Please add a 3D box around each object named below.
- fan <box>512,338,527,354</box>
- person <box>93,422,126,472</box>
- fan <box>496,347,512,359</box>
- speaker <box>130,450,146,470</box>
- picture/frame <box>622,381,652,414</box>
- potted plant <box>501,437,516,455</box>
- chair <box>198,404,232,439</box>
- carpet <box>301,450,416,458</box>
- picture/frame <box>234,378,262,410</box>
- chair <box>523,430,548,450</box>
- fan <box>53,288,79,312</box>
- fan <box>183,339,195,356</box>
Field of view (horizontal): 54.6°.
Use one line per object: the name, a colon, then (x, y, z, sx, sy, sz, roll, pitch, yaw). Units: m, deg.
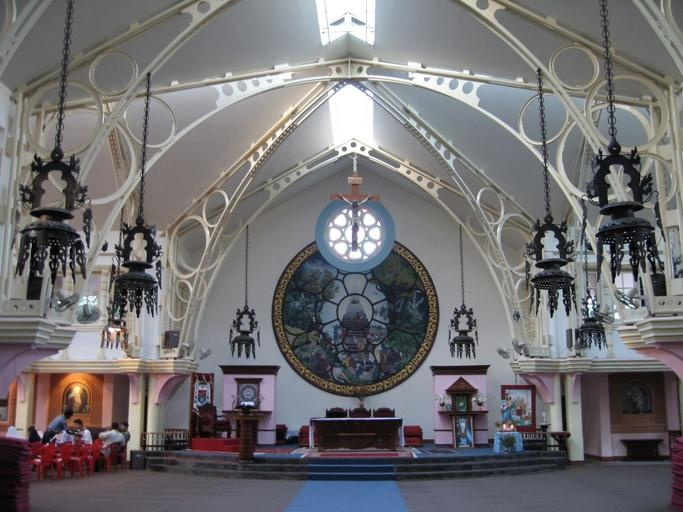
fan: (5.622, 2.858, 20.806, 0.335, 0.532, 0.698, 1, -14, -10)
person: (-6.625, 5.530, 19.033, 0.751, 1.360, 0.719, 9, -5, -43)
fan: (5.734, 3.450, 23.262, 0.511, 0.257, 0.530, 25, 1, -15)
speaker: (-6.072, 6.090, 19.692, 0.528, 0.539, 0.300, 1, -13, -9)
picture/frame: (10.209, 4.938, 22.734, 0.924, 1.248, 0.058, 1, -11, -3)
potted plant: (5.126, 5.803, 20.183, 0.362, 0.461, 0.399, -8, -13, 37)
chair: (-4.005, 5.361, 21.286, 0.961, 1.468, 1.053, -11, -16, 34)
carpet: (0.482, 5.684, 18.838, 3.056, 0.198, 2.081, -1, -15, -1)
picture/frame: (-3.238, 4.852, 23.013, 1.140, 1.593, 0.258, 0, -18, -2)
chair: (6.210, 5.926, 21.171, 0.724, 0.572, 1.240, -4, -15, 12)
fan: (-5.565, 0.935, 13.249, 0.366, 0.252, 0.506, 5, 30, -11)
fan: (-4.939, 2.993, 21.241, 0.330, 0.502, 1.243, 0, -15, -6)
